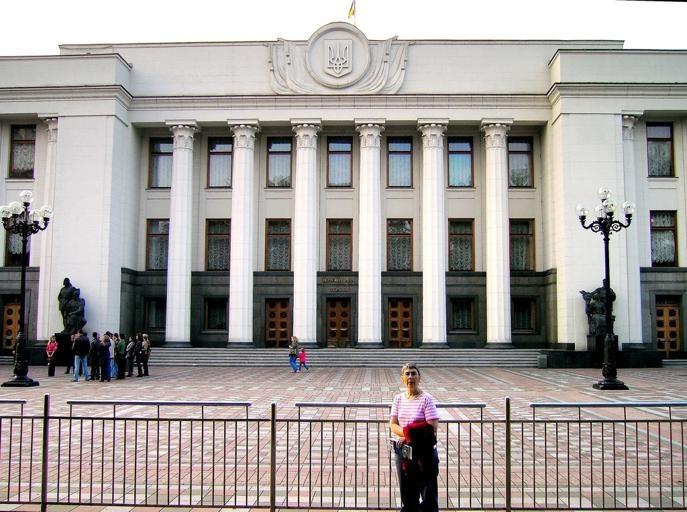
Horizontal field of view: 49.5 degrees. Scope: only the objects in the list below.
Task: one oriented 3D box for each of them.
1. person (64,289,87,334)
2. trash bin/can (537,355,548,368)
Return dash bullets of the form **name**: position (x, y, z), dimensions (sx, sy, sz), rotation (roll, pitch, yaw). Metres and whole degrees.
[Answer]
- **person**: position (-13.687, 2.759, 37.896), dimensions (0.914, 2.212, 0.877), rotation (1, -6, -23)
- **trash bin/can**: position (10.088, 5.321, 37.806), dimensions (0.473, 0.581, 0.502), rotation (-3, -6, 21)
